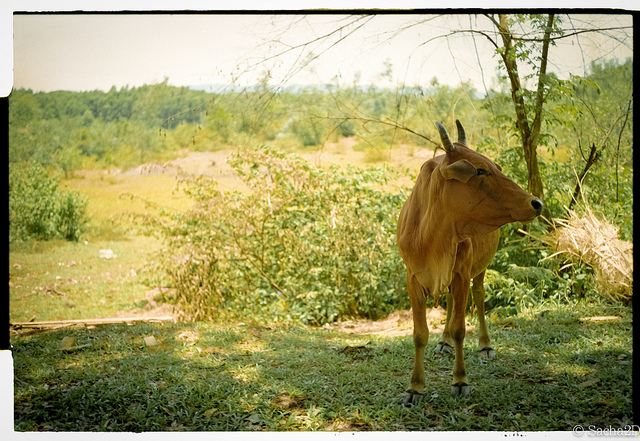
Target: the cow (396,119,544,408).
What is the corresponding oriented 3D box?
[{"bbox_3d":[1.727,0.460,8.885,1.549,3.383,1.437,2,11,3],"label":"cow"}]
